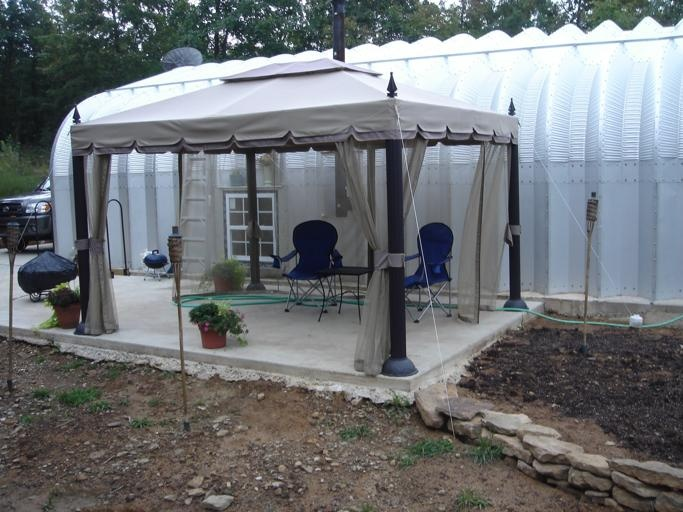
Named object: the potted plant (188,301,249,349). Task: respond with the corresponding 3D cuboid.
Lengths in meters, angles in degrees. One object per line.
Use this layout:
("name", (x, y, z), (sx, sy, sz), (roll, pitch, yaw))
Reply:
("potted plant", (-1.446, 0.770, 6.510), (0.546, 0.432, 0.522), (4, -5, -44))

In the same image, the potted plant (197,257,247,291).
("potted plant", (-1.901, 0.337, 9.198), (0.513, 0.556, 0.531), (-4, -5, 43))

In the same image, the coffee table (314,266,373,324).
("coffee table", (0.099, 0.518, 8.014), (0.618, 0.566, 0.678), (1, 2, 40))

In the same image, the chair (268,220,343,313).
("chair", (-0.484, 0.148, 8.133), (0.889, 1.354, 0.929), (0, 2, -17))

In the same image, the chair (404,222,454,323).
("chair", (1.101, 0.186, 8.011), (0.785, 1.401, 0.781), (6, 7, 44))

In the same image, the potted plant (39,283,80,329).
("potted plant", (-3.701, 0.674, 7.606), (0.479, 0.556, 0.507), (-3, 1, -34))
